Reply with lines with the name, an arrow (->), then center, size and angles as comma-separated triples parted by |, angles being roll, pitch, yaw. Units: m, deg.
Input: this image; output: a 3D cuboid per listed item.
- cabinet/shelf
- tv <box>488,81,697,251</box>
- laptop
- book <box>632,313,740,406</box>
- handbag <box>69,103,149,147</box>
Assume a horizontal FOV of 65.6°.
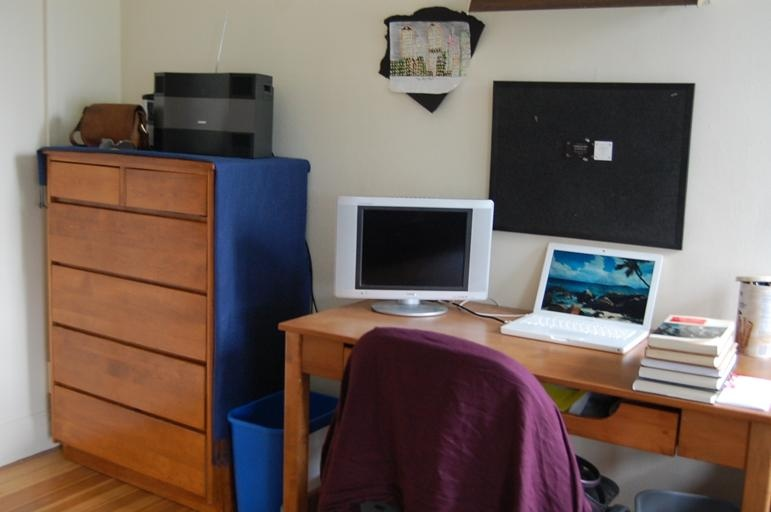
cabinet/shelf -> -1.098, 0.329, 2.965 | 1.253, 1.654, 0.609 | 6, 14, 11
tv -> 0.926, -0.398, 2.564 | 0.760, 0.590, 0.027 | 5, 8, 22
laptop -> 0.863, 0.175, 2.489 | 0.542, 0.317, 0.486 | 6, 10, 32
book -> 1.048, 0.320, 2.053 | 0.238, 0.151, 0.341 | 6, 18, 28
handbag -> -1.429, -0.680, 3.132 | 0.418, 0.206, 0.184 | 5, 4, 14
